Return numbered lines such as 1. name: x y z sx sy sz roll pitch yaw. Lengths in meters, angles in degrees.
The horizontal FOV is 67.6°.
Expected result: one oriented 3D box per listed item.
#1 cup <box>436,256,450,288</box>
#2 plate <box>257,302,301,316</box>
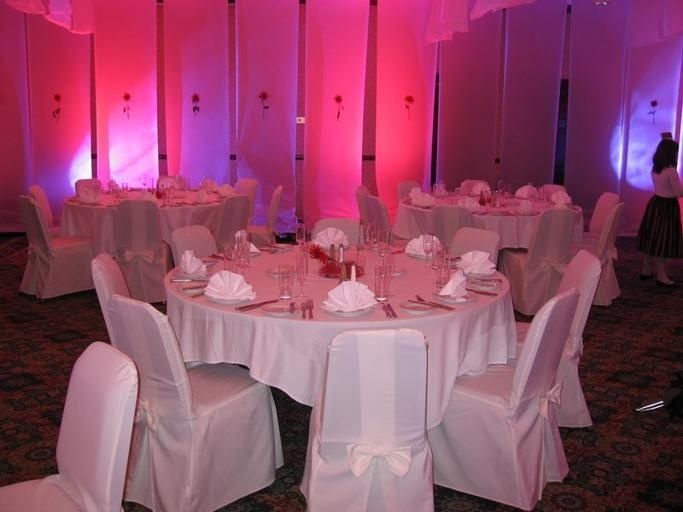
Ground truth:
1. cup: 0.639 0.086 3.200 0.080 0.196 0.209 1 9 11
2. plate: -0.327 0.283 2.753 0.206 0.042 0.197 -3 9 -8
